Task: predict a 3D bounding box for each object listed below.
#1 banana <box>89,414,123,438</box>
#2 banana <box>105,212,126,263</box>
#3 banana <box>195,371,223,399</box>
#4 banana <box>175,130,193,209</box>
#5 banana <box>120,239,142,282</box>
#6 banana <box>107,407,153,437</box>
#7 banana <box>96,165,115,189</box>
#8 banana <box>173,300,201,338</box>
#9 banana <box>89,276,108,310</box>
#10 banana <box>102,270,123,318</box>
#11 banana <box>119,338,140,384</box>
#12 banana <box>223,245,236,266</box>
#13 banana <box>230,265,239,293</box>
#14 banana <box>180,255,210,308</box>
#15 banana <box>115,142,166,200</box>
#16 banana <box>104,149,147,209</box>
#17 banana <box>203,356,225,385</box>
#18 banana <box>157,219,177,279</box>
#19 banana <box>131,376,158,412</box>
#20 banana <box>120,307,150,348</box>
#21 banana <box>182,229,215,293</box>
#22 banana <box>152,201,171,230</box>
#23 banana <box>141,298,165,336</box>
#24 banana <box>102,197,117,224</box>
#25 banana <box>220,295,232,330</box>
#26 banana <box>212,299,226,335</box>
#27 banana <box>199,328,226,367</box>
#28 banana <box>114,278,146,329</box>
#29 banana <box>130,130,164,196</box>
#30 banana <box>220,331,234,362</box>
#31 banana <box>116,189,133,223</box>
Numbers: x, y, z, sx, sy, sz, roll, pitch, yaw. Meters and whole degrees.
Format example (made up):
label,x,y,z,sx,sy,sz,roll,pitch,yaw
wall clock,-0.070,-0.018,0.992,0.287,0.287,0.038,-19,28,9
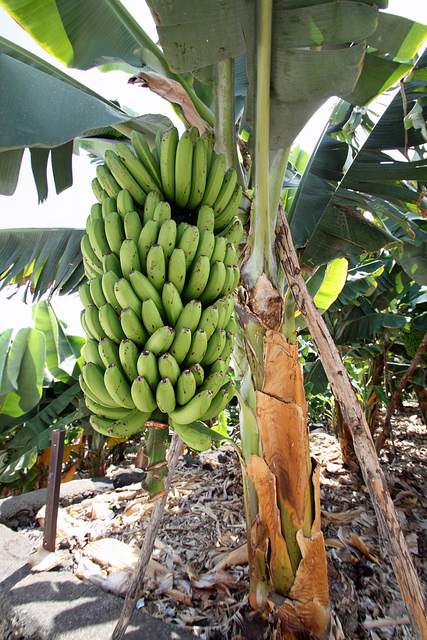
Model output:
label,x,y,z,sx,sy,sz,roll,pitch,yaw
banana,-0.409,0.377,1.503,0.092,0.028,0.075,32,29,22
banana,-0.383,-0.341,1.582,0.059,0.224,0.072,-6,2,0
banana,-0.005,0.229,1.454,0.048,0.053,0.155,11,10,3
banana,-0.129,-0.647,1.743,0.071,0.296,0.188,1,4,-6
banana,-0.309,-0.233,1.509,0.051,0.191,0.061,-4,24,3
banana,-0.306,0.371,1.496,0.163,0.112,0.082,1,4,-5
banana,-0.471,-0.635,1.760,0.037,0.160,0.063,-25,-28,19
banana,-0.089,-0.017,1.494,0.054,0.059,0.185,22,39,-4
banana,-0.439,-0.108,1.565,0.040,0.155,0.052,3,7,32
banana,-0.371,-0.107,1.542,0.071,0.206,0.054,-12,6,-38
banana,-0.287,0.132,1.462,0.052,0.181,0.062,-7,9,0
banana,0.069,-0.275,1.736,0.030,0.104,0.044,16,-12,-28
banana,0.091,-0.175,1.723,0.036,0.112,0.030,7,-3,-27
banana,-0.061,-0.156,1.553,0.066,0.258,0.089,11,15,-24
banana,-0.306,-0.613,1.682,0.057,0.289,0.076,-30,16,29
banana,-0.357,-0.583,1.670,0.068,0.259,0.090,-20,21,20
banana,-0.003,0.181,1.572,0.040,0.048,0.145,13,30,-1
banana,-0.176,-0.261,1.539,0.058,0.228,0.064,2,-1,-13
banana,-0.245,0.250,1.447,0.069,0.129,0.042,-27,30,-12
banana,-0.283,0.027,1.457,0.054,0.182,0.059,-25,32,-9
banana,-0.067,-0.229,1.630,0.074,0.283,0.091,15,-7,-18
banana,-0.197,-0.401,1.583,0.058,0.110,0.036,9,2,-8
banana,-0.223,-0.017,1.452,0.053,0.151,0.045,-9,27,-22
banana,-0.429,-0.458,1.681,0.052,0.112,0.037,-1,-5,12
banana,0.043,-0.029,1.663,0.045,0.138,0.036,-25,39,-38
banana,0.018,-0.014,1.580,0.035,0.130,0.042,7,0,-30
banana,0.023,0.093,1.579,0.064,0.181,0.047,36,26,-7
banana,-0.292,-0.051,1.497,0.052,0.197,0.063,-16,15,16
banana,-0.279,-0.685,1.766,0.078,0.315,0.105,-28,-3,33
banana,0.059,0.104,1.653,0.031,0.136,0.046,7,1,-26
banana,-0.357,-0.458,1.622,0.060,0.132,0.045,0,1,-1
